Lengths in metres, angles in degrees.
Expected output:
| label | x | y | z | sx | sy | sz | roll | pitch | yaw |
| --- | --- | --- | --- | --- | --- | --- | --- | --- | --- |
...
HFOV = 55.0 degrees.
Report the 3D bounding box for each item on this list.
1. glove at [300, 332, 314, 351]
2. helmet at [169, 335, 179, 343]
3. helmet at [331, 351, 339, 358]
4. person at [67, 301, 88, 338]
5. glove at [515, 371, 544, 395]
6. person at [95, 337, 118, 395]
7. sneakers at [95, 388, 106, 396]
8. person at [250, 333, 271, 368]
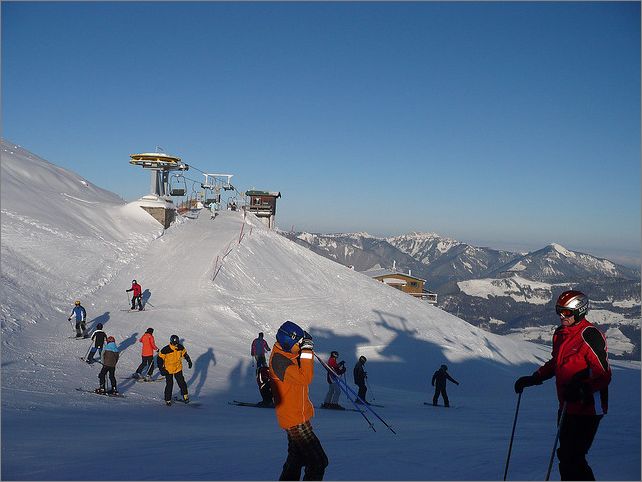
| label | x | y | z | sx | sy | sz | roll | pitch | yaw |
| --- | --- | --- | --- | --- | --- | --- | --- | --- | --- |
| glove | -0.325 | 2.289 | 13.959 | 0.285 | 0.362 | 0.318 | 6 | 2 | 0 |
| helmet | -4.819 | 3.244 | 20.289 | 0.247 | 0.310 | 0.254 | 17 | 11 | -27 |
| helmet | 0.436 | 4.279 | 23.157 | 0.372 | 0.287 | 0.276 | -5 | -6 | 21 |
| person | -10.404 | 3.391 | 26.555 | 0.749 | 1.233 | 0.960 | 5 | 2 | -21 |
| glove | 4.966 | 3.401 | 14.533 | 0.774 | 0.286 | 0.590 | -8 | 21 | -4 |
| person | -7.512 | 4.309 | 21.859 | 0.738 | 1.573 | 1.643 | 5 | 2 | -17 |
| sneakers | -7.627 | 5.170 | 21.234 | 0.439 | 0.164 | 0.217 | 6 | 2 | 14 |
| person | -2.417 | 4.490 | 24.552 | 0.791 | 1.627 | 0.500 | 1 | 10 | -5 |
